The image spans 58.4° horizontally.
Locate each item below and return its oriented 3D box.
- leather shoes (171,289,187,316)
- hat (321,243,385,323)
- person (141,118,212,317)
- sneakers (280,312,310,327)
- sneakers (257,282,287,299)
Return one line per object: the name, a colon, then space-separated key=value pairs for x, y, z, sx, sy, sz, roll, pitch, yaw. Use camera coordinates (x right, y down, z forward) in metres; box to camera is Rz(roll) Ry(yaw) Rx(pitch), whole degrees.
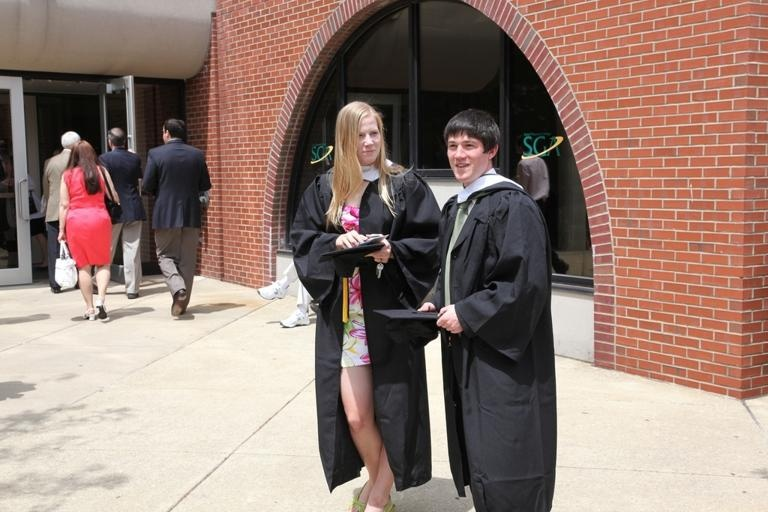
leather shoes: x=-2.603 y=0.587 z=8.766 sx=0.177 sy=0.374 sz=0.157 roll=8 pitch=32 yaw=-32
hat: x=-0.174 y=0.160 z=4.152 sx=0.303 sy=0.570 sz=0.222 roll=9 pitch=17 yaw=37
person: x=-2.711 y=-0.511 z=8.941 sx=0.699 sy=2.474 sz=1.085 roll=0 pitch=14 yaw=5
sneakers: x=-1.054 y=0.766 z=8.321 sx=0.376 sy=0.163 sz=0.151 roll=-1 pitch=1 yaw=-29
sneakers: x=-1.291 y=0.397 z=8.272 sx=0.371 sy=0.152 sz=0.183 roll=-3 pitch=52 yaw=-35
